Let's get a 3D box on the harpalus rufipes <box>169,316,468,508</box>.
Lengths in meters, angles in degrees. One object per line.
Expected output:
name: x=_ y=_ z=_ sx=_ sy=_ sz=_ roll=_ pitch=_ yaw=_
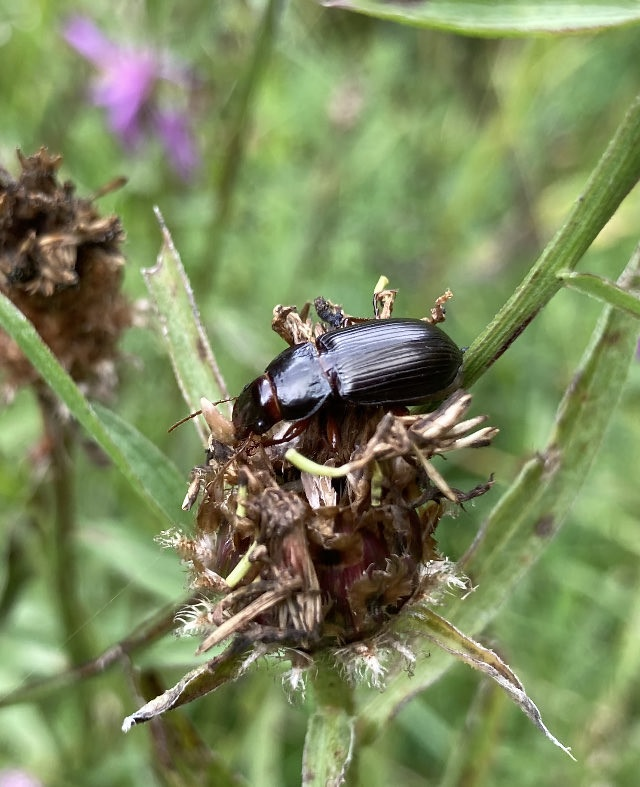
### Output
harpalus rufipes: x=0.044 y=-0.042 z=1.683 sx=0.623 sy=0.166 sz=0.371 roll=-14 pitch=40 yaw=2
